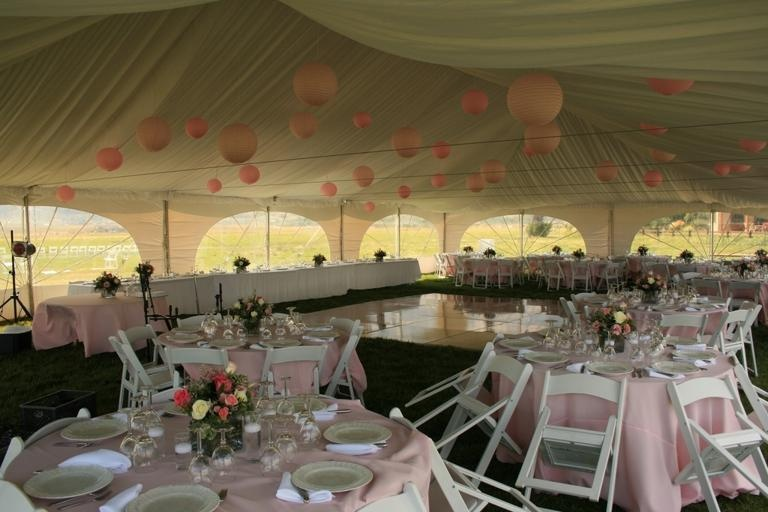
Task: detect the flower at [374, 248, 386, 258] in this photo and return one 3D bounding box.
[{"bbox_3d":[-0.174,-0.062,14.937,0.321,0.278,0.302,-1,13,25],"label":"flower"}]

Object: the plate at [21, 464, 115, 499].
[{"bbox_3d":[-1.521,1.097,2.247,0.324,0.036,0.313,2,3,-40],"label":"plate"}]

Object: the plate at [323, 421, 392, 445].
[{"bbox_3d":[-0.156,1.015,2.648,0.359,0.061,0.288,-1,0,-21],"label":"plate"}]

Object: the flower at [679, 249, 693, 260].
[{"bbox_3d":[8.668,-0.049,13.321,0.385,0.334,0.363,-6,5,-36],"label":"flower"}]

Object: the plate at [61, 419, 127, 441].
[{"bbox_3d":[-1.698,1.024,2.735,0.365,0.057,0.264,-1,0,-11],"label":"plate"}]
